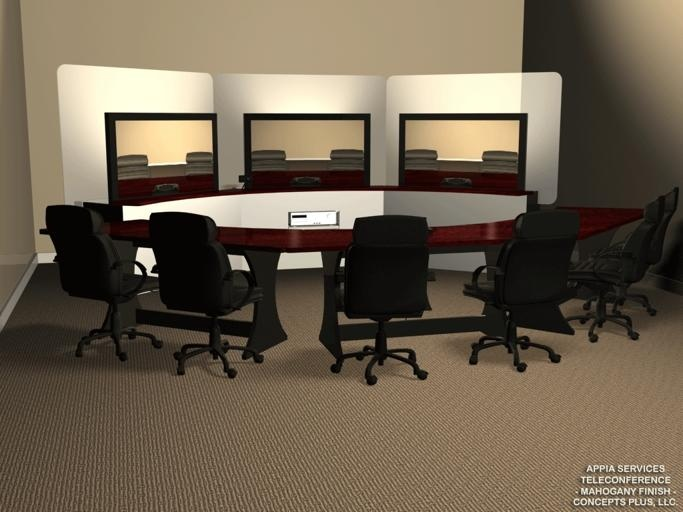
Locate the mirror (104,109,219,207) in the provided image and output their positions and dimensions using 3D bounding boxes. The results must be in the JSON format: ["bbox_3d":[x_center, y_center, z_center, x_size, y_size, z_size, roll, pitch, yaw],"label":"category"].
[{"bbox_3d":[-2.287,-1.029,6.010,1.206,0.809,0.079,-10,15,-42],"label":"mirror"}]

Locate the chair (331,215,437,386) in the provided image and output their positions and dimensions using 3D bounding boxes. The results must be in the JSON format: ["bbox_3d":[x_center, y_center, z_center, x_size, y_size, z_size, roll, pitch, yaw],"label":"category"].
[{"bbox_3d":[0.314,0.329,3.764,0.784,1.195,0.495,0,11,-1],"label":"chair"}]

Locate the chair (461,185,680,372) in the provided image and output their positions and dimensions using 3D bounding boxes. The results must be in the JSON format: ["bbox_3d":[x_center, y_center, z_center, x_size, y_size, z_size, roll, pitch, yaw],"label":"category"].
[{"bbox_3d":[2.302,0.284,4.777,1.633,0.762,0.848,-1,16,5],"label":"chair"}]
